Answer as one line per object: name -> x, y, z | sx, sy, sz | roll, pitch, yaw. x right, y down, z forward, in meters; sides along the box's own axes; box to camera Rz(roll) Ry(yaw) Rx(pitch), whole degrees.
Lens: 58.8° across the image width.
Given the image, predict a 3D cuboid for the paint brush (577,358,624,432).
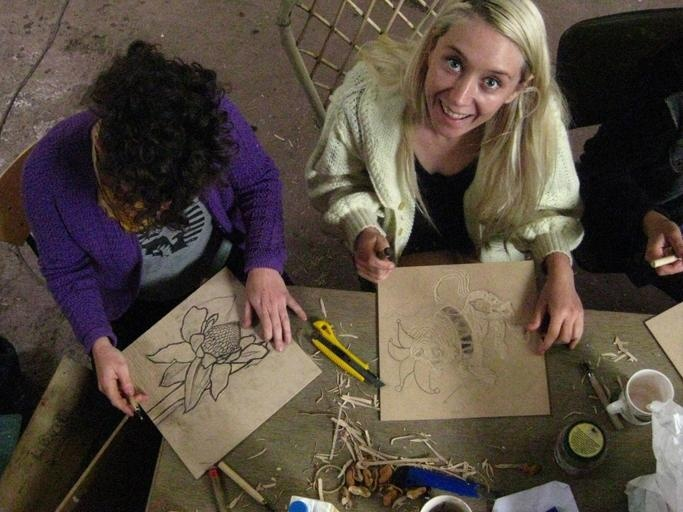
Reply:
paint brush -> 0.776, 0.407, 1.884 | 0.034, 0.054, 0.279 | 5, 52, -41
